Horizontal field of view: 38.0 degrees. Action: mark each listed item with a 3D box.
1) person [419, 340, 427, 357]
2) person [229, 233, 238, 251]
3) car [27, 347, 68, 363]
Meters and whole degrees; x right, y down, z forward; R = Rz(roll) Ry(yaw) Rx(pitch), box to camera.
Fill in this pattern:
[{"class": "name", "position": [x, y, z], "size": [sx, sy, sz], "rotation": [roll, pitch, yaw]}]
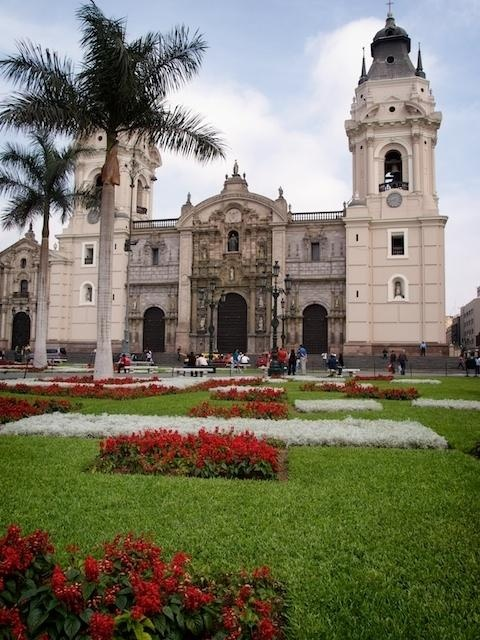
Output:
[{"class": "person", "position": [10.986, 1.701, 41.670], "size": [0.408, 0.909, 1.199], "rotation": [1, -5, 14]}, {"class": "person", "position": [-0.475, -5.447, 48.344], "size": [0.872, 1.318, 0.382], "rotation": [1, -5, 17]}, {"class": "car", "position": [-10.978, 2.000, 39.532], "size": [2.188, 1.080, 1.498], "rotation": [2, -5, -11]}]
